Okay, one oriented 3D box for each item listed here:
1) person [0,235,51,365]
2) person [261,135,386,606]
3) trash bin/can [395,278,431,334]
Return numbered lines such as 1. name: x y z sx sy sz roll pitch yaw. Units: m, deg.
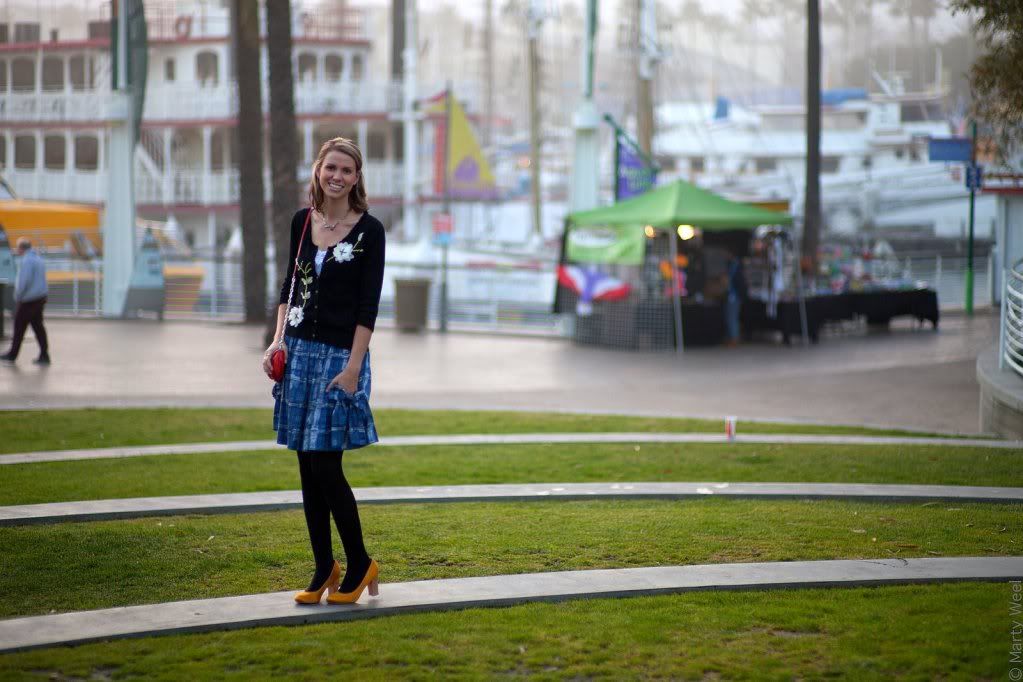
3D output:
1. person: -7.133 -0.575 23.910 0.683 1.812 0.582 -4 12 -18
2. person: -1.846 0.299 16.331 1.073 4.526 0.951 2 12 7
3. trash bin/can: -2.189 -0.783 35.259 0.982 1.503 1.025 1 -1 2
